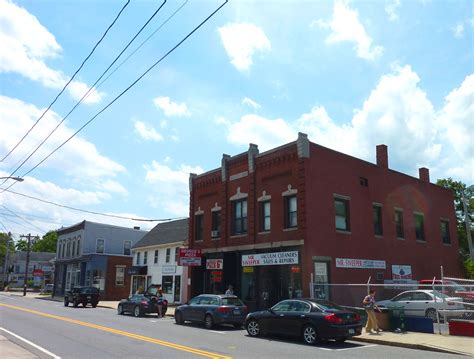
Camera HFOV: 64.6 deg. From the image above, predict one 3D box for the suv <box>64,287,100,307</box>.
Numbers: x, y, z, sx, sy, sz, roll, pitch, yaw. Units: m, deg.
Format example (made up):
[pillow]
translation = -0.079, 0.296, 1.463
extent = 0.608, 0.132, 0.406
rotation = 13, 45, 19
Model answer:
[suv]
translation = -15.124, 11.383, 36.371
extent = 1.893, 1.601, 3.269
rotation = 11, -17, -35

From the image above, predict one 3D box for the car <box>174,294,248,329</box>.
[car]
translation = -1.584, 7.341, 21.479
extent = 3.981, 1.544, 1.816
rotation = -12, -21, 43
